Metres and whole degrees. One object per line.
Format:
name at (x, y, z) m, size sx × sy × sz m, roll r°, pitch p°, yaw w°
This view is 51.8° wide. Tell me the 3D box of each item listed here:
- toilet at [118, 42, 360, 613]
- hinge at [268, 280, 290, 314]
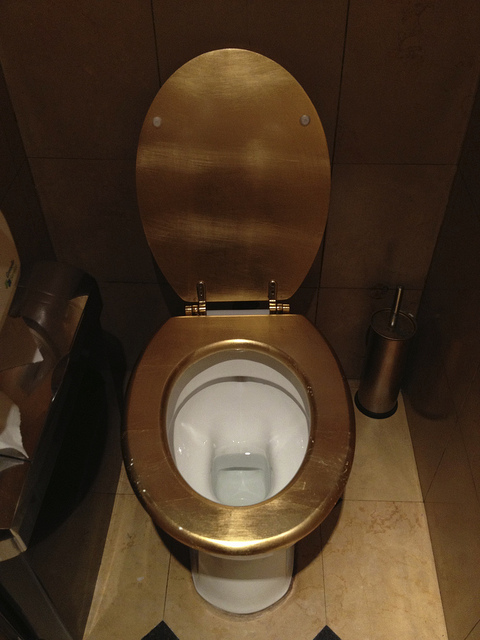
toilet at (-0.025, 0.178, 1.043) m, size 0.322 × 1.009 × 0.796 m, roll -2°, pitch 82°, yaw -3°
hinge at (0.080, -0.049, 1.006) m, size 0.025 × 0.068 × 0.018 m, roll -1°, pitch 39°, yaw 1°
